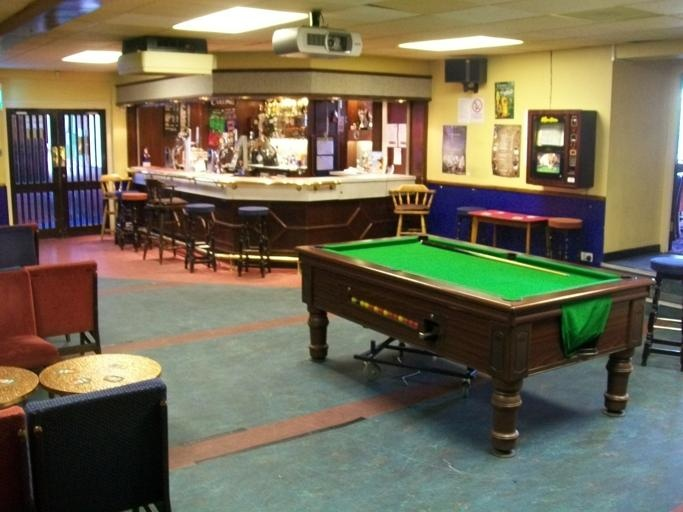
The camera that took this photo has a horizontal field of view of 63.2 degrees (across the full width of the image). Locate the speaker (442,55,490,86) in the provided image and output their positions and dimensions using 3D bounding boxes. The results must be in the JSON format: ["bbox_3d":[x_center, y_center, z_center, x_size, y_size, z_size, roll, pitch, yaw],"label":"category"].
[{"bbox_3d":[2.141,-3.106,9.425,0.803,0.442,0.516,5,7,39],"label":"speaker"}]

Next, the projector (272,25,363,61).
[{"bbox_3d":[-0.233,-2.305,6.009,0.895,0.312,0.463,-5,14,-24],"label":"projector"}]

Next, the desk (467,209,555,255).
[{"bbox_3d":[2.619,-0.765,8.620,0.728,0.934,1.409,-10,15,-35],"label":"desk"}]

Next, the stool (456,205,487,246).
[{"bbox_3d":[2.144,-0.550,9.433,0.605,0.624,0.588,0,6,-20],"label":"stool"}]
